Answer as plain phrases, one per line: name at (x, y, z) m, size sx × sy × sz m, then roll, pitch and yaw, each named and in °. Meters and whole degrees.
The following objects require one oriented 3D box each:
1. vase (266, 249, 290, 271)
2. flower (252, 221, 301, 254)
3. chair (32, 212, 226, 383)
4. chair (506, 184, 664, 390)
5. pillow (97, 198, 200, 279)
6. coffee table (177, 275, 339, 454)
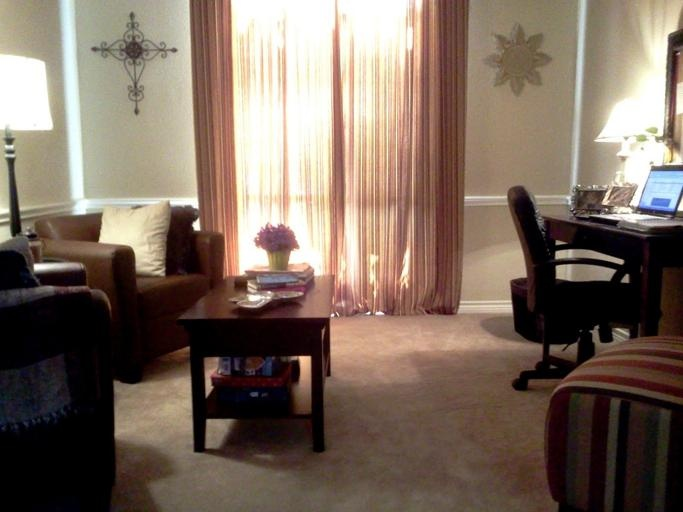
vase at (-0.348, 0.023, 3.237) m, size 0.105 × 0.088 × 0.112 m, roll 1°, pitch 9°, yaw 0°
flower at (-0.377, -0.100, 3.287) m, size 0.178 × 0.136 × 0.185 m, roll 1°, pitch 1°, yaw -26°
chair at (-1.434, 0.152, 3.950) m, size 1.045 × 1.233 × 1.129 m, roll 3°, pitch 7°, yaw 22°
chair at (1.370, 0.119, 3.891) m, size 0.942 × 1.657 × 1.028 m, roll 0°, pitch 4°, yaw 12°
pillow at (-1.256, -0.098, 3.820) m, size 0.506 × 0.522 × 0.198 m, roll -2°, pitch -19°, yaw 9°
coffee table at (-0.380, 0.719, 2.971) m, size 0.565 × 0.608 × 1.171 m, roll 1°, pitch 6°, yaw 2°
